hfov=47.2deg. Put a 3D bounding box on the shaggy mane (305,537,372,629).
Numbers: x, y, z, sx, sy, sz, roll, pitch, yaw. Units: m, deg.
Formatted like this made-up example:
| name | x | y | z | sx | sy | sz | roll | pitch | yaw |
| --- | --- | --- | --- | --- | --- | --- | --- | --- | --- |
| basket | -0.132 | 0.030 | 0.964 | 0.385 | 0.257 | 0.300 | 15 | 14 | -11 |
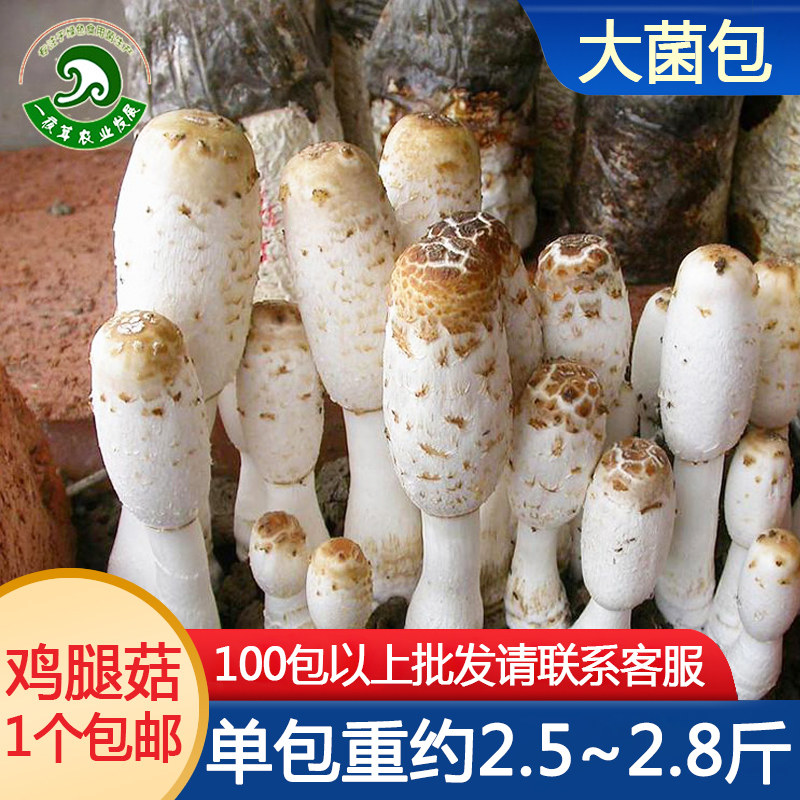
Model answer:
| name | x | y | z | sx | sy | sz | roll | pitch | yaw |
| --- | --- | --- | --- | --- | --- | --- | --- | --- | --- |
| shaggy mane | -0.096 | 0.304 | 1.476 | 0.104 | 0.161 | 0.100 | -13 | 23 | -27 |
